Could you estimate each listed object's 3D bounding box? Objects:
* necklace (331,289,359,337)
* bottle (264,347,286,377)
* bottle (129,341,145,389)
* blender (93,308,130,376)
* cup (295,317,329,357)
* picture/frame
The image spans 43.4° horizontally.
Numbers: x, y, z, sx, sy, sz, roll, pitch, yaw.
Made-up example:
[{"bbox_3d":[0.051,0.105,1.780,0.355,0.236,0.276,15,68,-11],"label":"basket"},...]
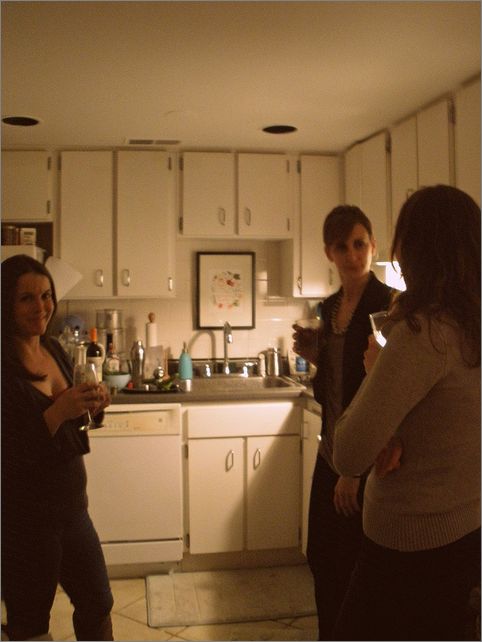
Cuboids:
[{"bbox_3d":[0.328,-0.021,1.886,0.070,0.128,0.033,-4,-35,19],"label":"necklace"},{"bbox_3d":[0.189,0.242,3.504,0.100,0.162,0.152,-2,-5,3],"label":"bottle"},{"bbox_3d":[-0.526,0.219,3.105,0.072,0.220,0.183,0,2,-11],"label":"bottle"},{"bbox_3d":[-0.716,0.115,3.343,0.143,0.378,0.155,5,17,9],"label":"blender"},{"bbox_3d":[0.220,0.056,1.969,0.094,0.157,0.095,1,-8,0],"label":"cup"},{"bbox_3d":[-0.105,-0.190,3.540,0.402,0.601,0.026,-1,2,-5],"label":"picture/frame"}]
